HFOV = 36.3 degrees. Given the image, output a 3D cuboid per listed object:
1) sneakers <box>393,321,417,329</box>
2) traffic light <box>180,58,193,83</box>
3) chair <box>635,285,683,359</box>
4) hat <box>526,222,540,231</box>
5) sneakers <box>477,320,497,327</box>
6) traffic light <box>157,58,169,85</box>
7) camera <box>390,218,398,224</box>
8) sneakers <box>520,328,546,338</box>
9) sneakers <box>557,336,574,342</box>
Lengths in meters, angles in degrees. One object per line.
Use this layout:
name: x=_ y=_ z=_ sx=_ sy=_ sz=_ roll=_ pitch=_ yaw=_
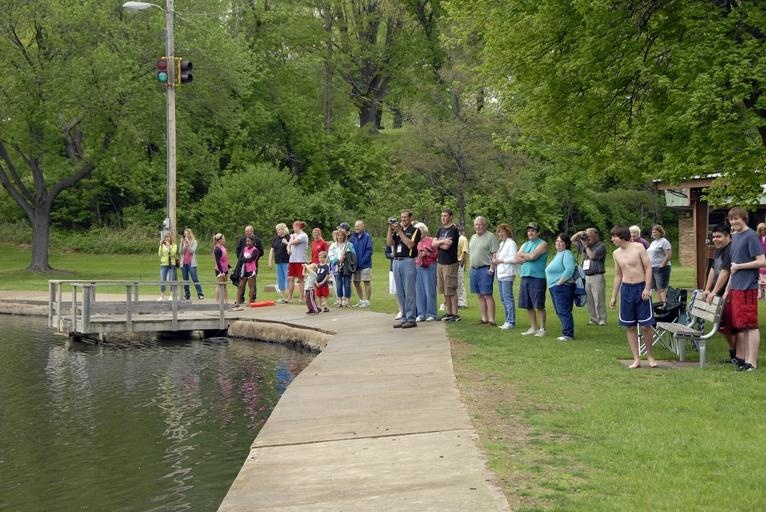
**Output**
sneakers: x=0.563 y=1.762 z=29.722 sx=0.449 sy=0.163 sz=0.244 roll=2 pitch=-4 yaw=4
traffic light: x=-5.891 y=-5.511 z=34.829 sx=0.354 sy=0.532 sz=0.746 roll=-2 pitch=1 yaw=-14
chair: x=7.130 y=1.590 z=29.167 sx=1.621 sy=1.754 sz=1.516 roll=1 pitch=-2 yaw=4
hat: x=3.797 y=-0.706 z=29.184 sx=0.246 sy=0.155 sz=0.349 roll=2 pitch=-12 yaw=36
sneakers: x=2.709 y=1.776 z=30.382 sx=0.477 sy=0.164 sz=0.151 roll=7 pitch=-6 yaw=3
traffic light: x=-6.615 y=-5.557 z=35.066 sx=0.273 sy=0.577 sz=0.539 roll=-2 pitch=1 yaw=-13
camera: x=0.255 y=-0.856 z=29.003 sx=0.123 sy=0.124 sz=0.147 roll=2 pitch=7 yaw=-6
sneakers: x=3.805 y=1.941 z=29.392 sx=0.685 sy=0.240 sz=0.216 roll=1 pitch=-3 yaw=8
sneakers: x=4.518 y=2.068 z=28.959 sx=0.268 sy=0.099 sz=0.141 roll=7 pitch=-7 yaw=-19
